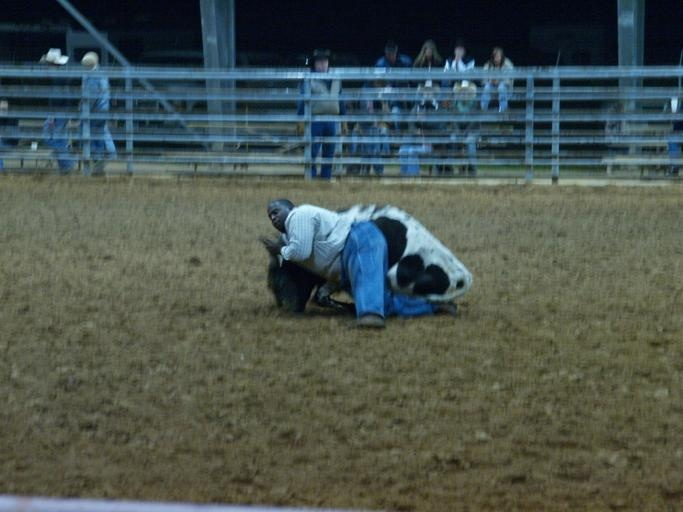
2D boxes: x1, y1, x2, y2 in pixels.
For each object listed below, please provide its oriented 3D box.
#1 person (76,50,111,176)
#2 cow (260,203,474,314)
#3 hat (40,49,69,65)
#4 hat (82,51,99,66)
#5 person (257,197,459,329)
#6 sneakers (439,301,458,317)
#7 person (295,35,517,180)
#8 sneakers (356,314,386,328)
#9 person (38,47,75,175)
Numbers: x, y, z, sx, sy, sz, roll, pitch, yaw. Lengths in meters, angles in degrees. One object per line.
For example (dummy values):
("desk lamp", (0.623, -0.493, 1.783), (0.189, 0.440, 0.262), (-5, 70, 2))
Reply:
("person", (-2.803, -1.536, 17.690), (0.385, 1.118, 0.584), (-1, 8, -10))
("cow", (0.166, 0.146, 14.693), (2.035, 1.160, 0.867), (10, 9, 27))
("hat", (-3.421, -2.371, 18.378), (0.198, 0.086, 0.246), (12, 48, -4))
("hat", (-2.979, -2.312, 18.219), (0.150, 0.167, 0.195), (-2, 11, -3))
("person", (0.190, 0.092, 14.783), (1.925, 1.109, 0.919), (18, 15, 10))
("sneakers", (1.033, 0.526, 14.767), (0.130, 0.137, 0.123), (20, 12, 18))
("person", (0.711, -1.593, 17.581), (2.480, 1.415, 0.698), (0, 8, -4))
("sneakers", (0.287, 0.639, 14.365), (0.181, 0.091, 0.129), (2, -8, 22))
("person", (-3.330, -1.673, 17.943), (0.354, 1.258, 1.066), (-1, 9, -12))
